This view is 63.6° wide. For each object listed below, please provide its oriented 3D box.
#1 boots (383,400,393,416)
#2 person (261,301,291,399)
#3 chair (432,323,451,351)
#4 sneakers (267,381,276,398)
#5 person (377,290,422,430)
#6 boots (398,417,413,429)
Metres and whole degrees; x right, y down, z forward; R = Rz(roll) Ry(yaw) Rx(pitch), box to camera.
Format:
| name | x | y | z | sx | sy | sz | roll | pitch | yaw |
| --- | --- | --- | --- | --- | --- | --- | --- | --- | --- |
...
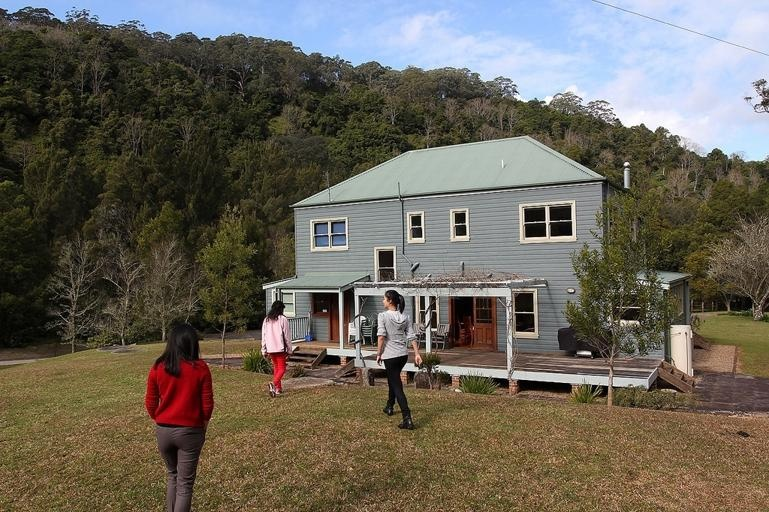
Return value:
| name | x | y | z | sx | sy | sz | roll | pitch | yaw |
| --- | --- | --- | --- | --- | --- | --- | --- | --- | --- |
| boots | 0.077 | 4.177 | 16.904 | 0.169 | 0.343 | 0.459 | 1 | 4 | -3 |
| person | -3.226 | 2.769 | 18.596 | 0.816 | 2.841 | 0.780 | 1 | -3 | -10 |
| chair | 2.602 | 3.647 | 27.799 | 0.887 | 1.320 | 0.942 | -2 | -5 | 21 |
| sneakers | -3.375 | 4.079 | 18.690 | 0.198 | 0.526 | 0.233 | -14 | -13 | 37 |
| person | 0.360 | 2.697 | 16.317 | 1.086 | 3.588 | 1.249 | 1 | -3 | 0 |
| boots | 0.568 | 4.361 | 16.008 | 0.184 | 0.366 | 0.481 | -2 | 4 | -28 |
